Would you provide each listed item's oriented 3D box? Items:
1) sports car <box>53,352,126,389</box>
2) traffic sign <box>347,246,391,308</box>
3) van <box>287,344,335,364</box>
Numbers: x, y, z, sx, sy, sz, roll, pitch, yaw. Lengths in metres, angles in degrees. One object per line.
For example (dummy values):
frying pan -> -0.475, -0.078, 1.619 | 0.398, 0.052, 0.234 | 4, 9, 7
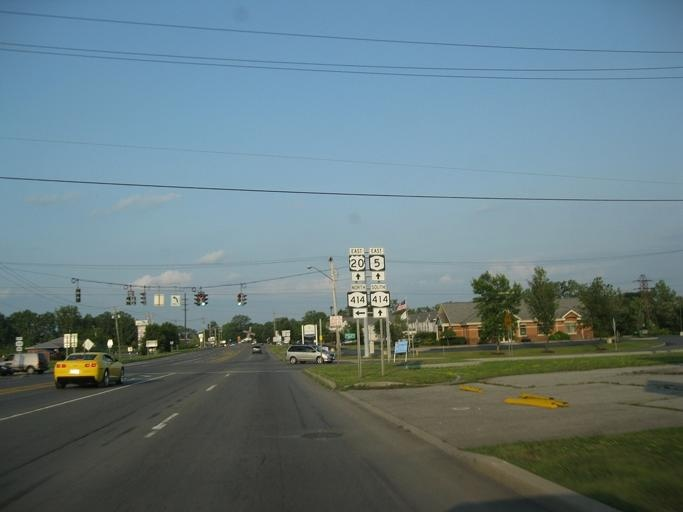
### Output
sports car -> -11.224, 5.069, 31.635 | 2.072, 1.433, 4.550 | -1, -9, -3
traffic sign -> 1.198, 1.037, 30.332 | 1.361, 3.082, 1.366 | 0, -3, -20
van -> -2.496, 7.533, 54.128 | 2.919, 1.205, 1.554 | -5, -10, 17
